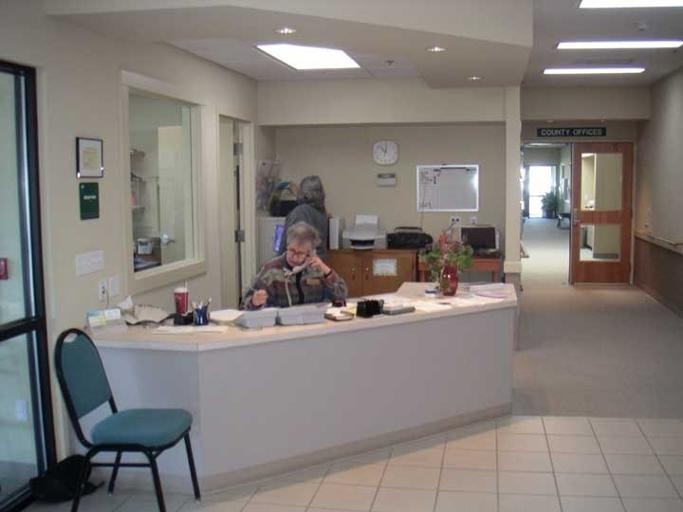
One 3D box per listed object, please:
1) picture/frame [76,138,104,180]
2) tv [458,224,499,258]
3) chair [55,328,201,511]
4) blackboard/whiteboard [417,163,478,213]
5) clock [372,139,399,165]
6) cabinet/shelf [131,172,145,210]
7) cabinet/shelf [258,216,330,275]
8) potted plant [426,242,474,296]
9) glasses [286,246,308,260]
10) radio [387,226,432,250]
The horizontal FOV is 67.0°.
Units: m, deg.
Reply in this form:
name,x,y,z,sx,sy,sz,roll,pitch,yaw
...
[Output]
name,x,y,z,sx,sy,sz,roll,pitch,yaw
picture/frame,-1.845,-0.716,3.818,0.299,0.279,0.035,10,11,30
tv,1.786,-0.191,6.691,0.423,0.394,0.102,0,5,7
chair,-1.433,1.067,3.243,0.924,1.136,0.628,2,9,18
blackboard/whiteboard,1.562,-1.007,7.449,0.654,0.528,0.029,0,6,7
clock,0.647,-1.524,7.484,0.334,0.356,0.047,1,8,4
cabinet/shelf,-2.151,-0.700,5.474,0.140,0.379,0.372,-4,9,-20
cabinet/shelf,-0.619,-0.220,6.945,0.836,0.605,0.470,-1,-2,28
potted plant,0.916,0.081,4.746,0.488,0.540,0.432,-1,0,-12
glasses,-0.374,-0.024,4.297,0.104,0.038,0.114,7,-19,7
radio,0.931,-0.238,7.244,0.378,0.250,0.398,-1,-4,5
